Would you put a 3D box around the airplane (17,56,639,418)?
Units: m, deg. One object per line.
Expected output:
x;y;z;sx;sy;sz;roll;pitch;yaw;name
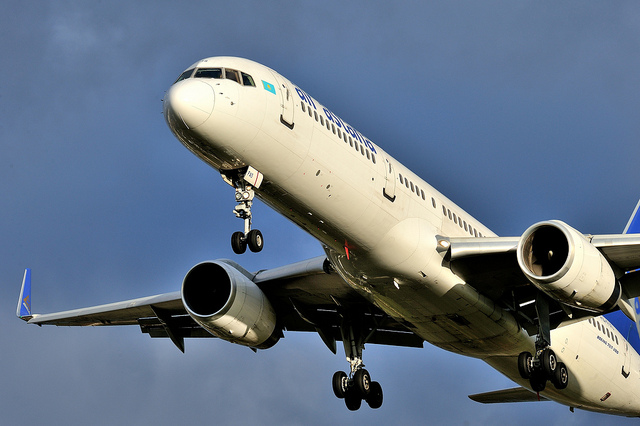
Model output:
2.293;1.557;21.332;13.071;4.521;10.200;-13;-45;40;airplane
